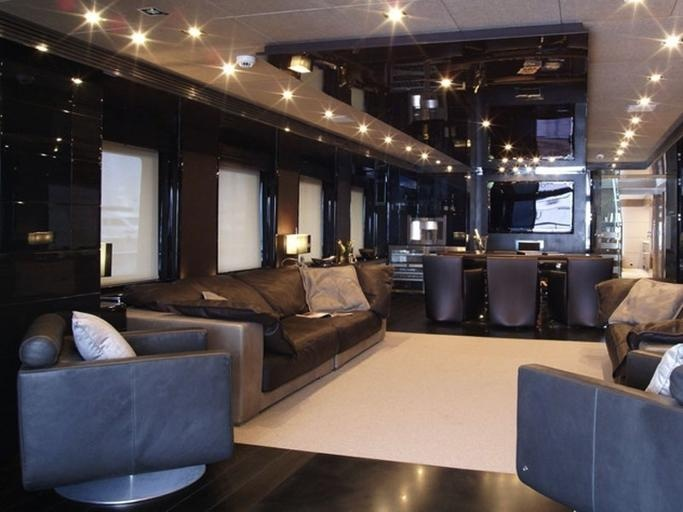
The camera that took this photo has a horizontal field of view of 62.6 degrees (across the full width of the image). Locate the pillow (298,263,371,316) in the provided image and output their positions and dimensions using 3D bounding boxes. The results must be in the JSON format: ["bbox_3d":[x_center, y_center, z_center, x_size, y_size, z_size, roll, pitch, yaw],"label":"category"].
[{"bbox_3d":[-0.046,0.296,6.114,0.684,0.720,0.187,-16,23,1],"label":"pillow"}]

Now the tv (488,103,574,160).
[{"bbox_3d":[2.996,-1.918,8.908,1.475,0.885,0.047,11,29,38],"label":"tv"}]

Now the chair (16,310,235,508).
[{"bbox_3d":[-1.362,0.810,3.592,1.125,1.133,1.126,0,0,-26],"label":"chair"}]
